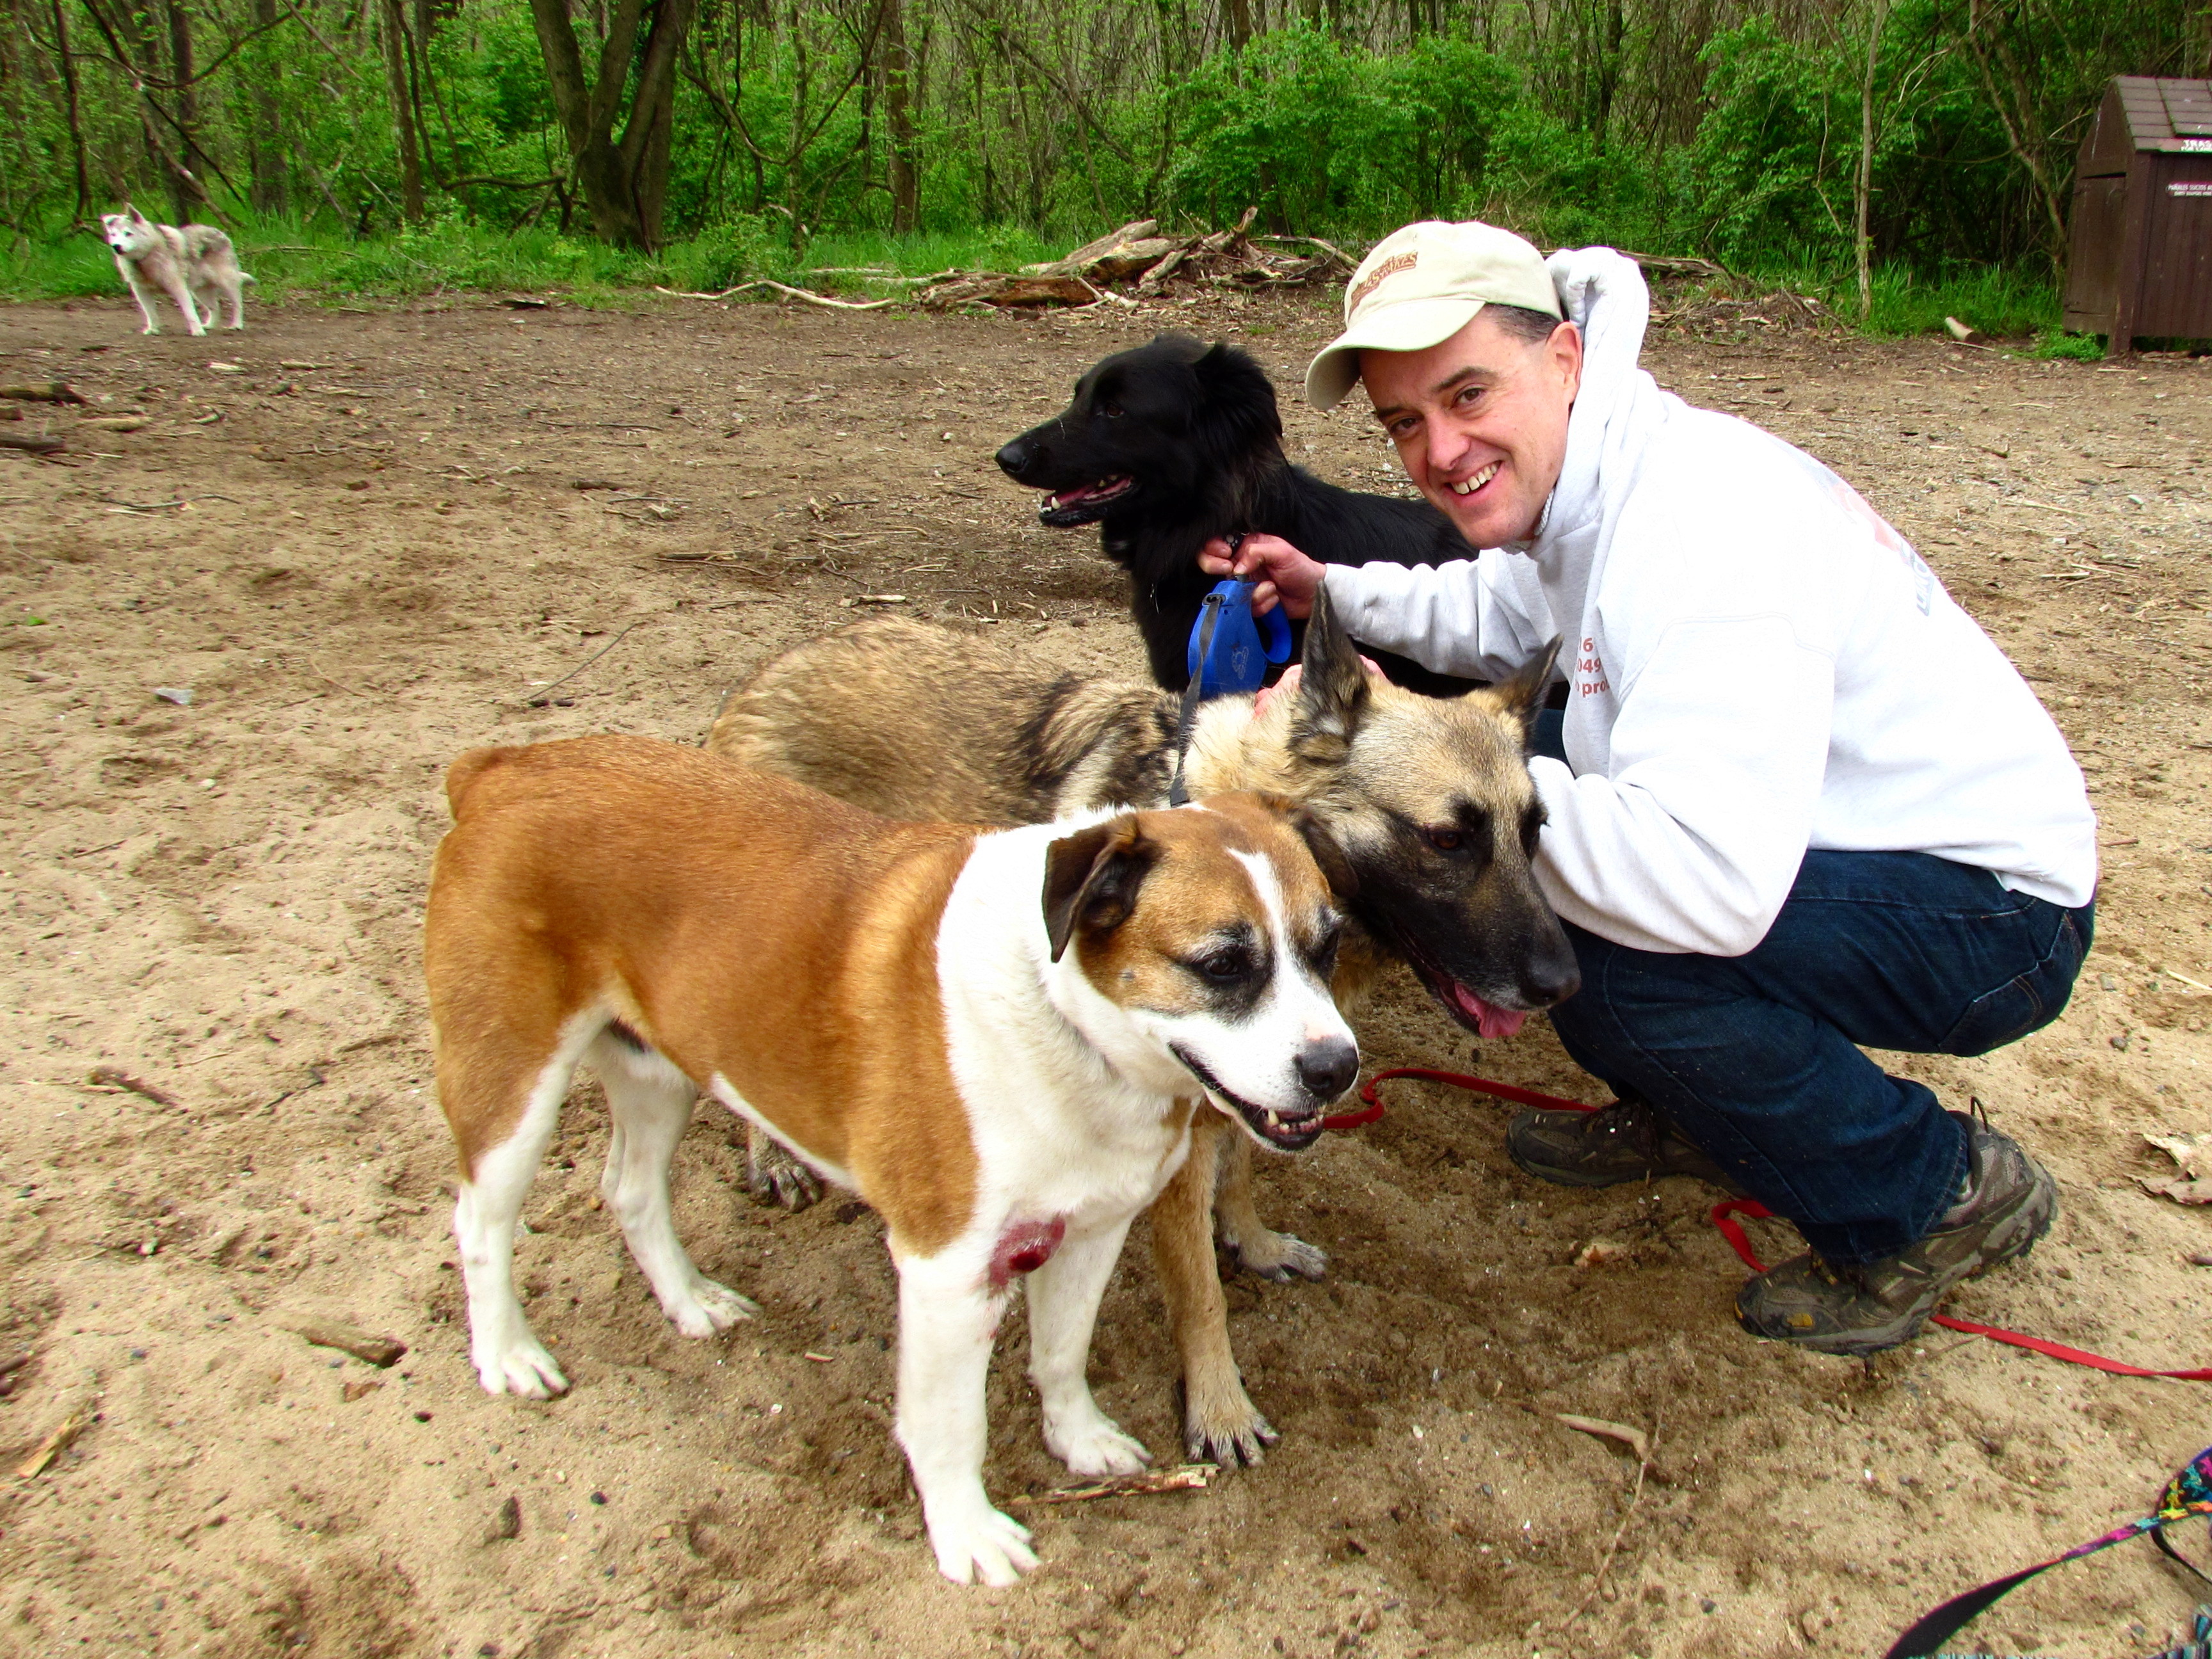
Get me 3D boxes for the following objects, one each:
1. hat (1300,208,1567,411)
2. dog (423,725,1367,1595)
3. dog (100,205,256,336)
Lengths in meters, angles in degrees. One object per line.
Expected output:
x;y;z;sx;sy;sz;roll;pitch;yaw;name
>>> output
0.999;-1.567;5.062;0.692;0.344;0.475;-13;15;-22;hat
-0.654;0.726;4.725;2.899;2.069;0.897;12;18;26;dog
-8.380;-4.870;15.381;0.445;1.008;1.632;-13;19;-7;dog
